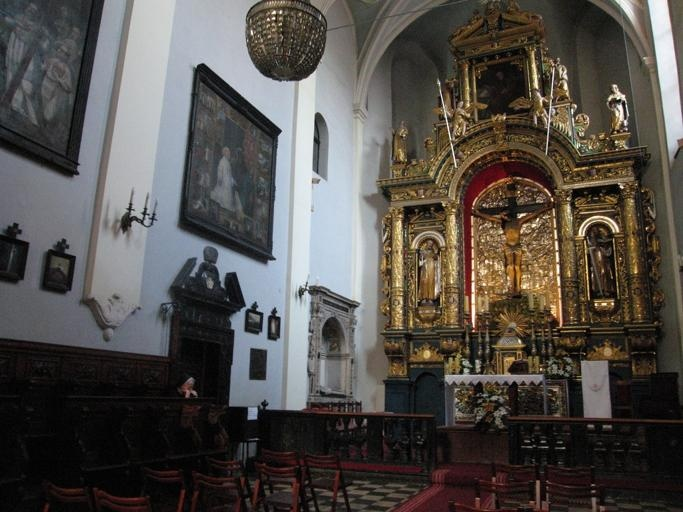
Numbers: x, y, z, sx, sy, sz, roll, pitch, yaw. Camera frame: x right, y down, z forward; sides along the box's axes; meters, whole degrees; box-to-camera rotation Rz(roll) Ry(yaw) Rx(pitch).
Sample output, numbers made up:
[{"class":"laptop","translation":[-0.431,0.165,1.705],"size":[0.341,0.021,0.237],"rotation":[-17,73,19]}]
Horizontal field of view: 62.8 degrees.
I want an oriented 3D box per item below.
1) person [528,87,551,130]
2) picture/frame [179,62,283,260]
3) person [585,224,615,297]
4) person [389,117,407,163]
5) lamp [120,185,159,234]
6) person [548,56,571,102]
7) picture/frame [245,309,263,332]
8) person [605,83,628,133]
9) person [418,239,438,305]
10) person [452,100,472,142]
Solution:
[{"class":"person","translation":[4.762,-3.500,13.355],"size":[0.508,1.193,0.219],"rotation":[-3,-33,21]},{"class":"picture/frame","translation":[-2.059,-1.661,10.006],"size":[0.304,3.302,2.926],"rotation":[-8,-23,24]},{"class":"person","translation":[5.926,0.216,12.692],"size":[0.515,0.150,2.203],"rotation":[-3,-53,27]},{"class":"person","translation":[1.553,-2.990,15.047],"size":[0.407,1.353,0.332],"rotation":[-3,-14,15]},{"class":"lamp","translation":[-2.974,-0.659,8.138],"size":[0.337,0.676,0.638],"rotation":[-2,-9,10]},{"class":"person","translation":[5.319,-4.286,13.646],"size":[0.362,1.352,0.414],"rotation":[-4,-14,19]},{"class":"picture/frame","translation":[-1.655,1.221,10.435],"size":[0.042,0.345,0.407],"rotation":[-7,-13,27]},{"class":"person","translation":[6.419,-3.388,12.973],"size":[0.374,1.266,0.642],"rotation":[-7,-15,27]},{"class":"person","translation":[2.184,0.402,14.119],"size":[0.525,1.667,0.234],"rotation":[-2,-14,9]},{"class":"person","translation":[3.057,-3.382,14.111],"size":[0.524,1.142,0.409],"rotation":[0,-14,2]}]
